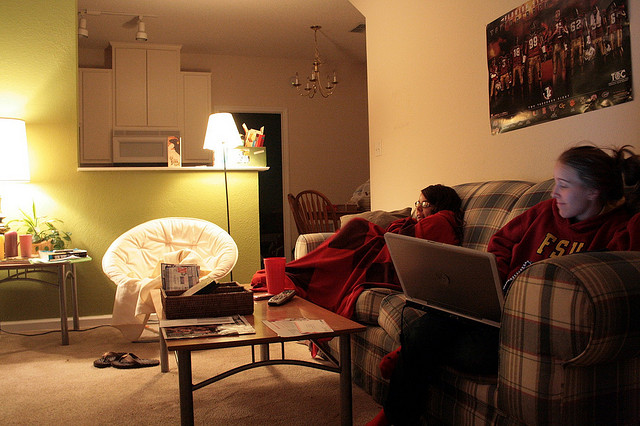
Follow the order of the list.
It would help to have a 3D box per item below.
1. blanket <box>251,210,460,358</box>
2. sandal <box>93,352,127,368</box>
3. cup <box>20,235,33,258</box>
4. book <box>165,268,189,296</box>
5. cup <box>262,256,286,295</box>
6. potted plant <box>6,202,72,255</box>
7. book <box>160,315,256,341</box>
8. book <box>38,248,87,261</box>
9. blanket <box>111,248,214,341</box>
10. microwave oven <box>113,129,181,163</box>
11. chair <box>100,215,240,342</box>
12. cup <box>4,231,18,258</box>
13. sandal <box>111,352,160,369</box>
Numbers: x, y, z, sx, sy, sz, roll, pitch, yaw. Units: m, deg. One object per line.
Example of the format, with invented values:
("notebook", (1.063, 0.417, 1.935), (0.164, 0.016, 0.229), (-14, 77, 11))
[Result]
("blanket", (0.087, 0.583, 3.633), (1.707, 0.909, 1.605), (-4, -22, 6))
("sandal", (-1.481, 1.016, 3.248), (0.074, 0.046, 0.181), (-2, -8, 11))
("cup", (-2.410, 0.272, 3.854), (0.055, 0.192, 0.088), (2, 6, 38))
("book", (-0.753, 0.355, 2.484), (0.138, 0.125, 0.031), (1, -6, -14))
("cup", (-0.254, 0.366, 2.758), (0.204, 0.232, 0.188), (-2, -4, 0))
("potted plant", (-2.405, 0.153, 4.121), (0.483, 0.318, 0.468), (-4, -5, 7))
("book", (-0.504, 0.515, 2.114), (0.382, 0.023, 0.279), (-3, 4, -20))
("book", (-2.098, 0.336, 3.835), (0.331, 0.069, 0.190), (-3, 4, -29))
("blanket", (-1.247, 0.630, 3.918), (0.902, 0.794, 0.818), (1, 4, -18))
("microwave oven", (-2.460, -0.943, 6.613), (0.850, 0.472, 0.183), (-2, 5, -10))
("chair", (-1.245, 0.388, 4.011), (1.158, 0.946, 1.119), (0, 4, -1))
("cup", (-2.516, 0.257, 3.813), (0.091, 0.208, 0.059), (-4, 5, -28))
("sandal", (-1.251, 1.009, 3.208), (0.215, 0.060, 0.122), (3, -8, -5))
